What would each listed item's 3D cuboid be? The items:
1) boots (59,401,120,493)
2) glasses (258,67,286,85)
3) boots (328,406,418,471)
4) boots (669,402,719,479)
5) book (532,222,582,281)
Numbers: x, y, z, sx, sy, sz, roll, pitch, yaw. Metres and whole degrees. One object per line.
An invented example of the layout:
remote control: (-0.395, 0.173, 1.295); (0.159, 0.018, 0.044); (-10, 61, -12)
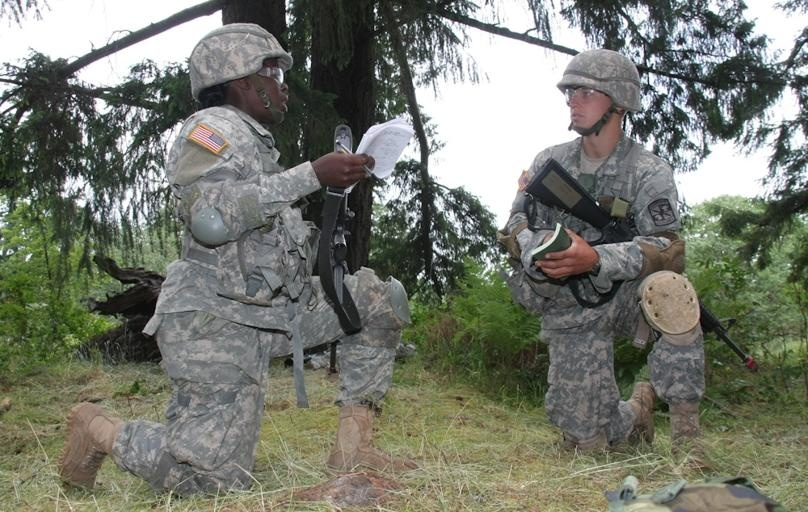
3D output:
boots: (-2.362, 1.395, 4.627); (0.359, 0.714, 0.310); (14, 24, -5)
glasses: (-1.056, -1.414, 4.823); (0.149, 0.091, 0.128); (-2, 8, 3)
boots: (-0.147, 1.458, 4.907); (0.855, 0.650, 0.321); (1, -9, -2)
boots: (2.210, 1.368, 4.705); (0.296, 0.464, 0.554); (-2, -2, 24)
book: (1.165, -0.024, 4.753); (0.423, 0.157, 0.414); (-39, -27, -6)
